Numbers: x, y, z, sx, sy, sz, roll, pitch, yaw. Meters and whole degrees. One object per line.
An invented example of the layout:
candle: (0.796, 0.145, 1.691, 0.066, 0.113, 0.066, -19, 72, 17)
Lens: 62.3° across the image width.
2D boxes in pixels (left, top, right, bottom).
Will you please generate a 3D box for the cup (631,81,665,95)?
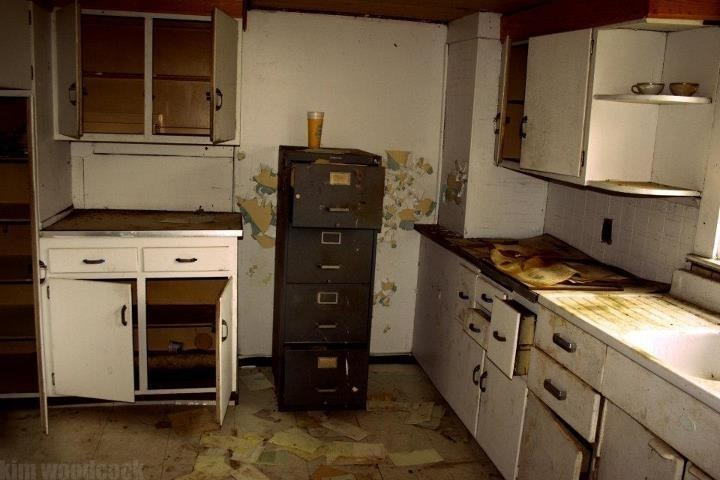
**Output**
cup: (1.603, -0.833, 3.297, 0.150, 0.054, 0.121, -1, 0, 21)

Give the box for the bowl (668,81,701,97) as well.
bowl: (1.767, -0.824, 3.245, 0.142, 0.082, 0.154, 0, 11, 0)

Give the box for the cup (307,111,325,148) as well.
cup: (-0.314, -0.775, 4.182, 0.102, 0.251, 0.164, -2, 12, -8)

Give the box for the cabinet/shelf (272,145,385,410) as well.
cabinet/shelf: (-0.243, 0.283, 4.177, 0.768, 1.818, 0.540, -2, 13, -8)
